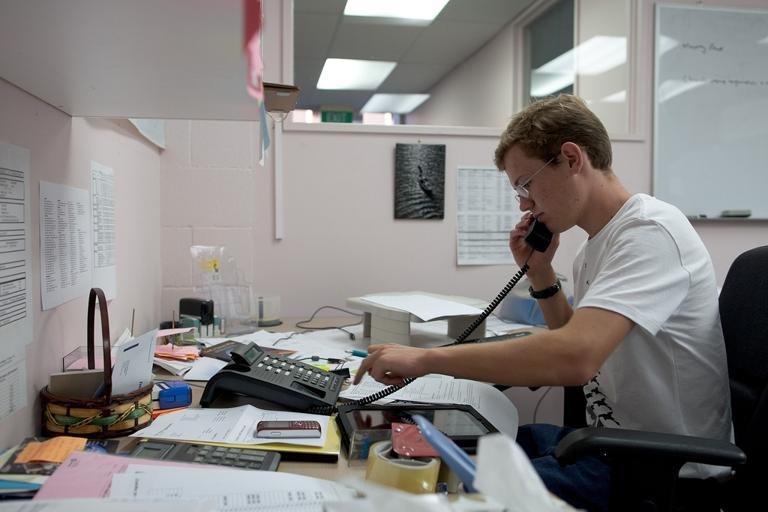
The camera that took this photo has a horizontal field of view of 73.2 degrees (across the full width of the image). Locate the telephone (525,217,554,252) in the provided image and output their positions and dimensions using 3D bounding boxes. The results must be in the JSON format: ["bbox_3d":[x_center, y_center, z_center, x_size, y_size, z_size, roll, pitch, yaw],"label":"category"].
[{"bbox_3d":[0.523,-0.070,1.729,0.068,0.063,0.119,22,39,-2],"label":"telephone"}]

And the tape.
[{"bbox_3d":[0.022,0.440,1.057,0.126,0.080,0.132,10,-2,-29],"label":"tape"}]

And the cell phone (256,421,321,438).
[{"bbox_3d":[-0.228,0.394,1.197,0.127,0.024,0.054,1,6,-2],"label":"cell phone"}]
